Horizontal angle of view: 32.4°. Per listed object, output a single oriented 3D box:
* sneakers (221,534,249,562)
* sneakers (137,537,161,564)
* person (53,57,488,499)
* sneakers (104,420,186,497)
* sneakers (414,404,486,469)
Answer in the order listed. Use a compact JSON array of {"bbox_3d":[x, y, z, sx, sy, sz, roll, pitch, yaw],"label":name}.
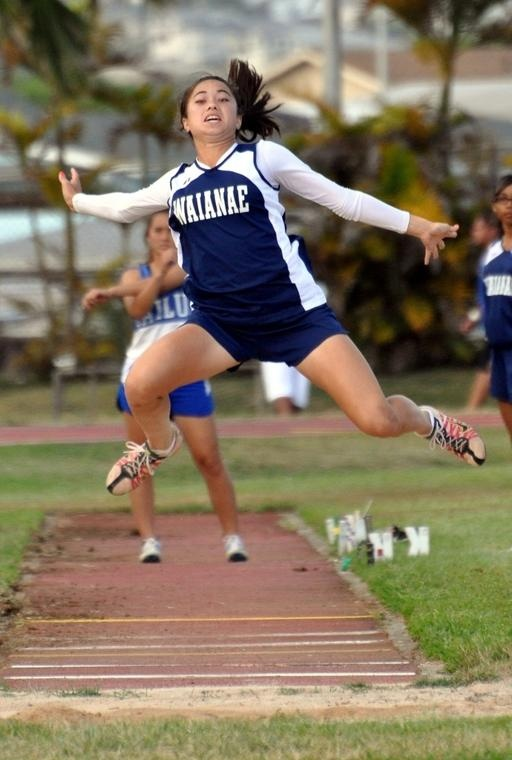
[{"bbox_3d":[-0.081,0.699,3.646,0.088,0.108,0.124,-1,7,-4],"label":"sneakers"},{"bbox_3d":[-0.454,0.732,3.785,0.089,0.084,0.115,-1,7,-8],"label":"sneakers"},{"bbox_3d":[0.002,-0.328,3.169,1.357,1.572,0.617,1,8,11],"label":"person"},{"bbox_3d":[-0.490,0.303,3.463,0.418,0.172,0.174,-36,-13,2],"label":"sneakers"},{"bbox_3d":[0.872,0.231,3.905,0.174,0.154,0.445,-51,37,-11],"label":"sneakers"}]
